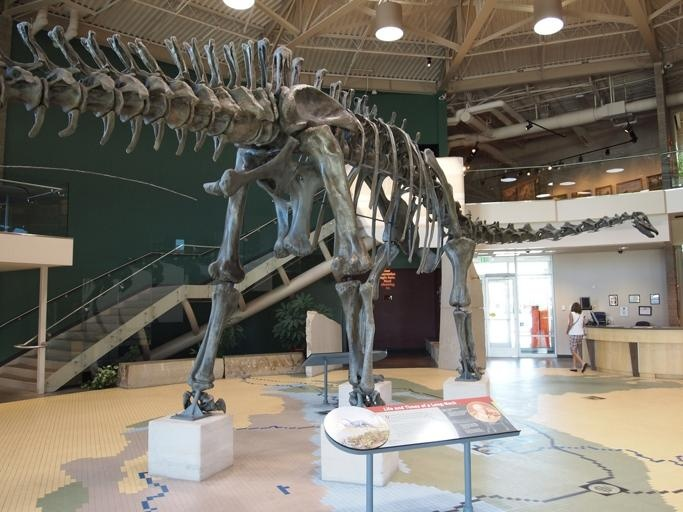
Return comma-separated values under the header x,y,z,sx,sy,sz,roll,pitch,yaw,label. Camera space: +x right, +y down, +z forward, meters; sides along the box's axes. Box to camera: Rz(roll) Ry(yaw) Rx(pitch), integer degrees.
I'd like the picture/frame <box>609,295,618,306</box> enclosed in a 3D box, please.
x,y,z,sx,sy,sz,roll,pitch,yaw,label
6.862,1.114,12.090,0.273,0.369,0.039,0,-6,15,picture/frame

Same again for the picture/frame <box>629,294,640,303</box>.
x,y,z,sx,sy,sz,roll,pitch,yaw,label
7.346,1.056,12.007,0.212,0.192,0.020,-1,4,8,picture/frame

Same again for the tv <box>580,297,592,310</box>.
x,y,z,sx,sy,sz,roll,pitch,yaw,label
5.501,1.063,10.815,0.164,0.289,0.331,-4,-5,43,tv

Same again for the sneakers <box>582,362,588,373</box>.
x,y,z,sx,sy,sz,roll,pitch,yaw,label
4.979,2.274,9.814,0.059,0.148,0.047,15,20,22,sneakers

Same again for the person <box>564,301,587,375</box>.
x,y,z,sx,sy,sz,roll,pitch,yaw,label
4.940,1.661,10.026,0.312,1.382,0.952,-4,-6,26,person

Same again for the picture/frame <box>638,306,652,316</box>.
x,y,z,sx,sy,sz,roll,pitch,yaw,label
7.570,1.356,11.943,0.248,0.203,0.021,1,-8,16,picture/frame

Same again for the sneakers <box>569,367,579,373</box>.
x,y,z,sx,sy,sz,roll,pitch,yaw,label
4.731,2.316,9.748,0.067,0.078,0.200,1,-16,-7,sneakers

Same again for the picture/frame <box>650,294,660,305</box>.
x,y,z,sx,sy,sz,roll,pitch,yaw,label
7.767,1.058,11.877,0.271,0.304,0.031,2,-3,10,picture/frame
